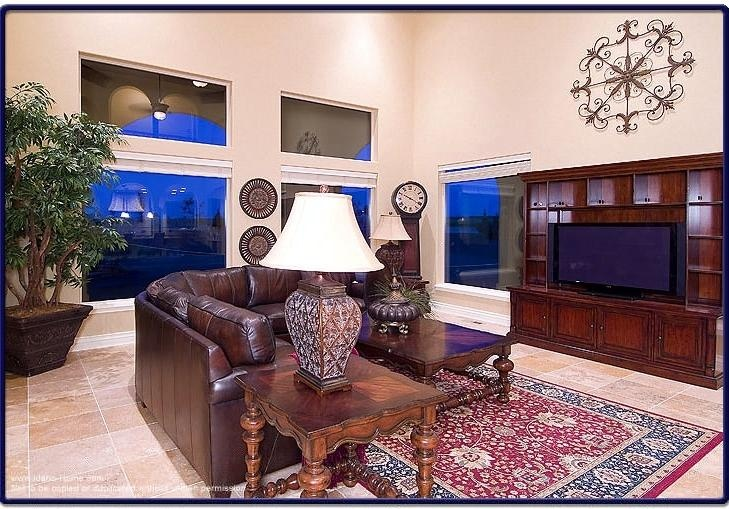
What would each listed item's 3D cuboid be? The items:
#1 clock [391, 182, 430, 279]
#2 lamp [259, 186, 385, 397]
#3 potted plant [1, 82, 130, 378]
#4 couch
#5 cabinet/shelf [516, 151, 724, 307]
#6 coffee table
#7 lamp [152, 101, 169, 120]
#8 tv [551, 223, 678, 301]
[{"bbox_3d":[0.770,-0.380,8.070,0.569,1.584,0.219,0,2,13],"label":"clock"},{"bbox_3d":[-0.278,0.259,3.363,0.863,1.278,0.846,-1,2,-35],"label":"lamp"},{"bbox_3d":[-3.436,-0.356,5.421,0.916,3.143,1.296,3,9,28],"label":"potted plant"},{"bbox_3d":[-1.050,0.960,4.496,1.638,1.279,2.192,-2,8,-34],"label":"couch"},{"bbox_3d":[3.025,-0.281,5.635,0.349,1.392,2.043,2,-2,-41],"label":"cabinet/shelf"},{"bbox_3d":[0.690,1.130,4.788,0.959,0.518,1.438,-6,-1,-14],"label":"coffee table"},{"bbox_3d":[-2.711,-1.889,6.524,0.203,0.172,0.226,2,-3,-9],"label":"lamp"},{"bbox_3d":[2.917,0.089,5.583,0.104,0.630,0.936,-1,1,-42],"label":"tv"}]
